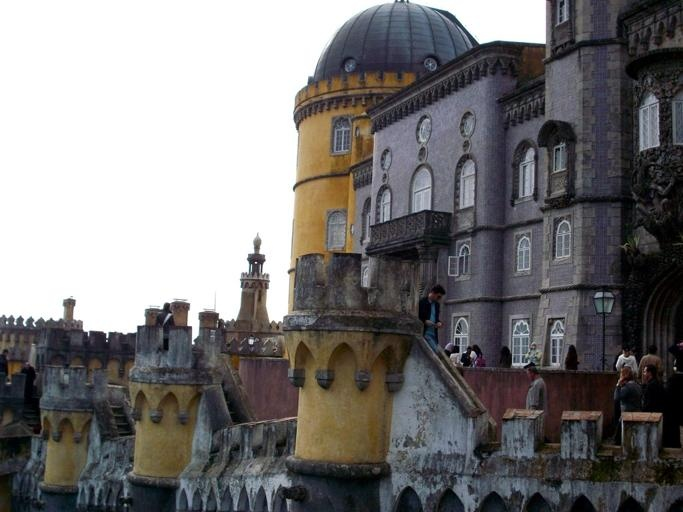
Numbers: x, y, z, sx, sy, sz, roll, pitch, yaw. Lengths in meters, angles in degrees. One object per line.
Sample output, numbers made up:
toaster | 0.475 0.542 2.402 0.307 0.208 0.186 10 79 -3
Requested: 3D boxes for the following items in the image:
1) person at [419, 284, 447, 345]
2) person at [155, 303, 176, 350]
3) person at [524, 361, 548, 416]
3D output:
person | 1.905 1.274 26.457 0.549 0.953 1.621 -4 -3 4
person | -4.552 1.781 32.151 0.483 1.226 0.304 7 27 -1
person | 4.002 2.711 25.770 0.399 0.766 0.970 -4 -3 7
